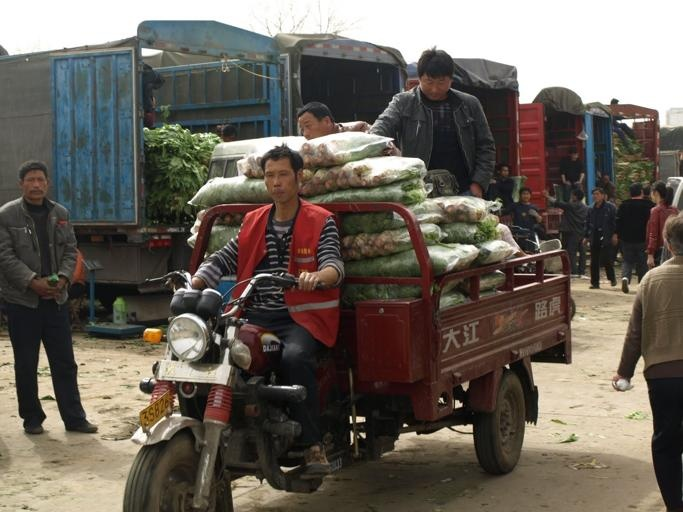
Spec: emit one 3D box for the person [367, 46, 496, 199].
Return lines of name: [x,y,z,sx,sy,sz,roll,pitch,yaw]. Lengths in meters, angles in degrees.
person: [0.864,-1.183,7.761,1.060,1.322,0.652,1,10,6]

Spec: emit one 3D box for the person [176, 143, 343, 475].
person: [-0.393,0.300,5.866,1.039,2.087,0.660,6,12,35]
